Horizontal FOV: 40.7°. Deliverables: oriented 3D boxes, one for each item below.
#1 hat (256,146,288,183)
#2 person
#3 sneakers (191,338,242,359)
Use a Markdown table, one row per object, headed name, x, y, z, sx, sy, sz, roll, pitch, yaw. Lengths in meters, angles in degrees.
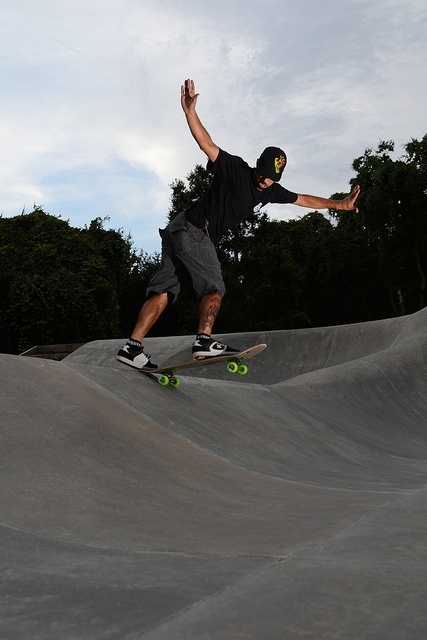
| name | x | y | z | sx | sy | sz | roll | pitch | yaw |
| --- | --- | --- | --- | --- | --- | --- | --- | --- | --- |
| hat | 0.431 | -1.124 | 4.184 | 0.232 | 0.224 | 0.143 | 3 | -2 | -39 |
| person | -0.002 | -0.618 | 4.309 | 1.409 | 2.033 | 0.879 | 1 | -2 | 7 |
| sneakers | 0.038 | 0.220 | 4.304 | 0.416 | 0.165 | 0.137 | -2 | -9 | -4 |
